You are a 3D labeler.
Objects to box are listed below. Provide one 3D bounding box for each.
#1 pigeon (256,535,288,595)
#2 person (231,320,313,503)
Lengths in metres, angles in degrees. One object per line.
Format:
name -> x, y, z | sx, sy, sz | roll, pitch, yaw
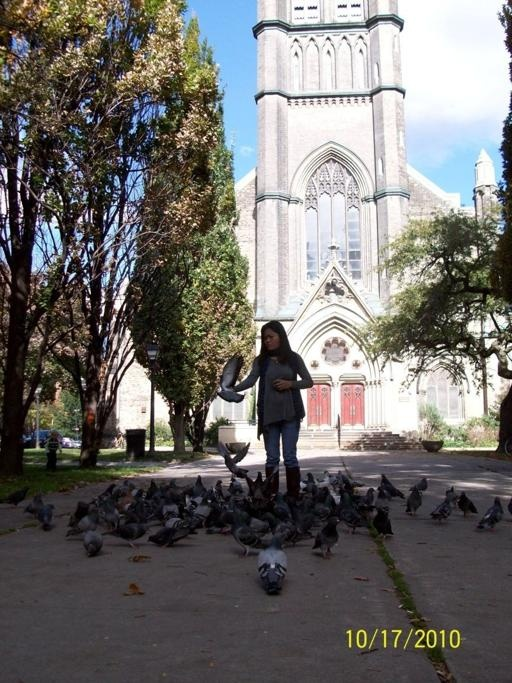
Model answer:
pigeon -> 0.099, 1.265, 3.672 | 0.196, 0.296, 0.456 | 0, -6, 2
person -> 0.295, 0.671, 7.164 | 0.708, 2.075, 0.546 | 1, -5, -5
